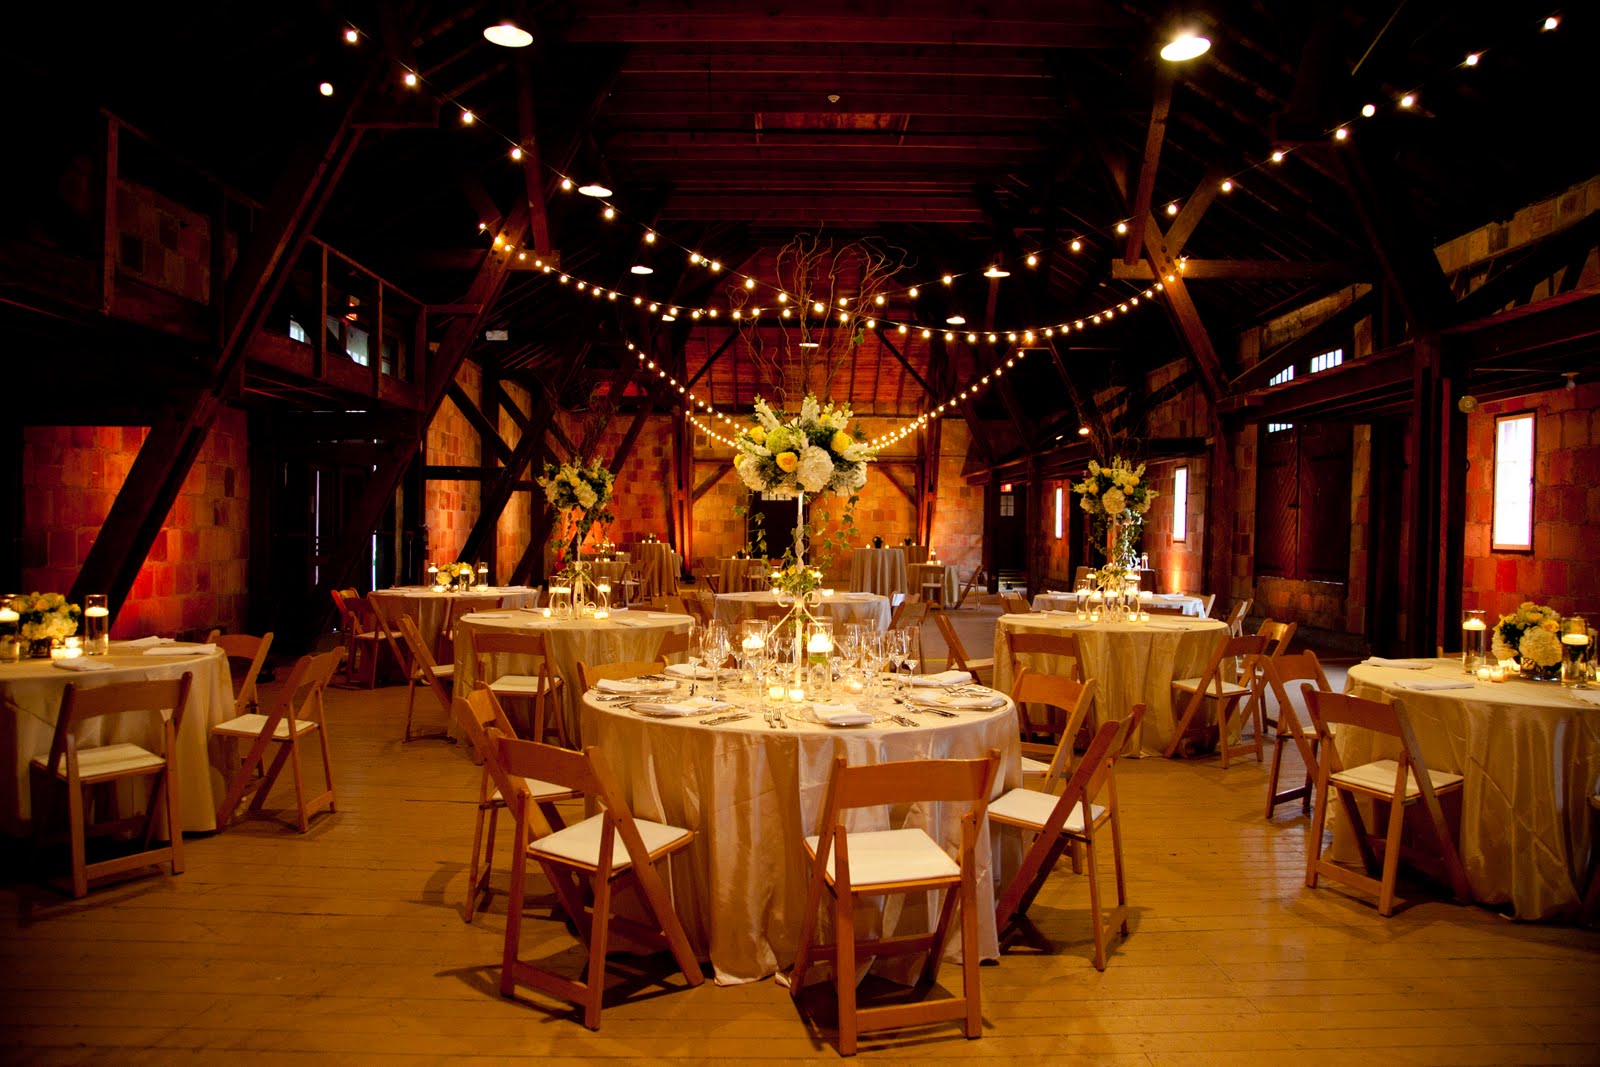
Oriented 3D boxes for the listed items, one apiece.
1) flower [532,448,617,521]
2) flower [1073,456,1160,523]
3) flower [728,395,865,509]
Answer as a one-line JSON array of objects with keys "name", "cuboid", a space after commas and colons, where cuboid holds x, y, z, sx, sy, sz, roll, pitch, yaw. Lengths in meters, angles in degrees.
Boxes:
[{"name": "flower", "cuboid": [-1.928, -0.401, 9.891, 0.591, 0.543, 0.586, -1, 3, 2]}, {"name": "flower", "cuboid": [2.809, -0.422, 10.250, 0.621, 0.743, 1.068, -1, -8, 14]}, {"name": "flower", "cuboid": [0.021, -0.465, 6.743, 0.639, 0.483, 0.639, 2, -1, -31]}]
